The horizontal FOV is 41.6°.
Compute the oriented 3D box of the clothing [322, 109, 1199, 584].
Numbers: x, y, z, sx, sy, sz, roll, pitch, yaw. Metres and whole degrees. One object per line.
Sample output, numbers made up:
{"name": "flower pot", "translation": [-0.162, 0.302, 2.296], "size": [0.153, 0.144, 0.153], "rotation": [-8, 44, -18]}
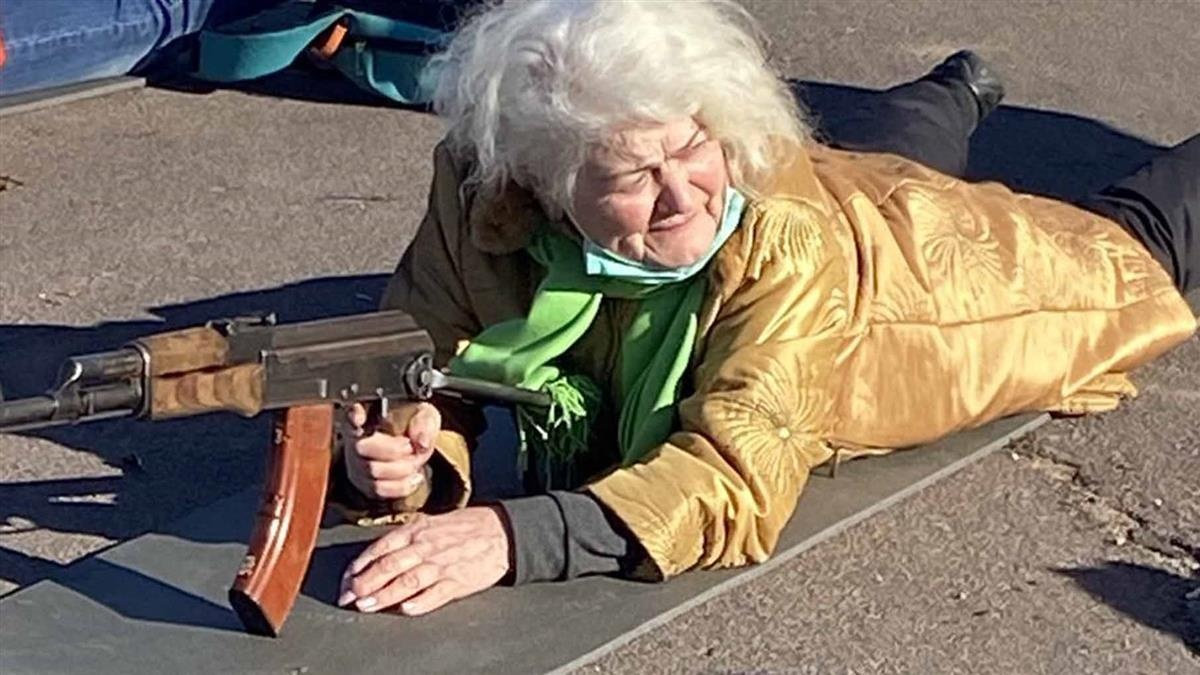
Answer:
{"name": "clothing", "translation": [0.853, 0.045, 6.185], "size": [2.700, 0.862, 1.683], "rotation": [-15, 36, -14]}

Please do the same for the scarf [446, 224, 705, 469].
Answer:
{"name": "scarf", "translation": [-0.066, 0.025, 5.961], "size": [0.854, 0.895, 0.310], "rotation": [19, 20, 13]}

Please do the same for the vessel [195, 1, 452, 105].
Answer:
{"name": "vessel", "translation": [-1.252, -1.320, 7.125], "size": [0.689, 0.666, 0.252], "rotation": [11, 71, -47]}

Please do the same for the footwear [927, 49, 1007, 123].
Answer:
{"name": "footwear", "translation": [1.808, -1.240, 7.614], "size": [0.377, 0.277, 0.147], "rotation": [38, 16, 2]}

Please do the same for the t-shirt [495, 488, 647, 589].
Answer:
{"name": "t-shirt", "translation": [-0.133, 0.748, 5.909], "size": [0.461, 0.181, 0.357], "rotation": [-5, 54, -3]}

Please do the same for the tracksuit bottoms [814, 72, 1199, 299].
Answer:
{"name": "tracksuit bottoms", "translation": [1.935, -0.751, 7.119], "size": [1.581, 0.500, 0.972], "rotation": [5, 71, -34]}
